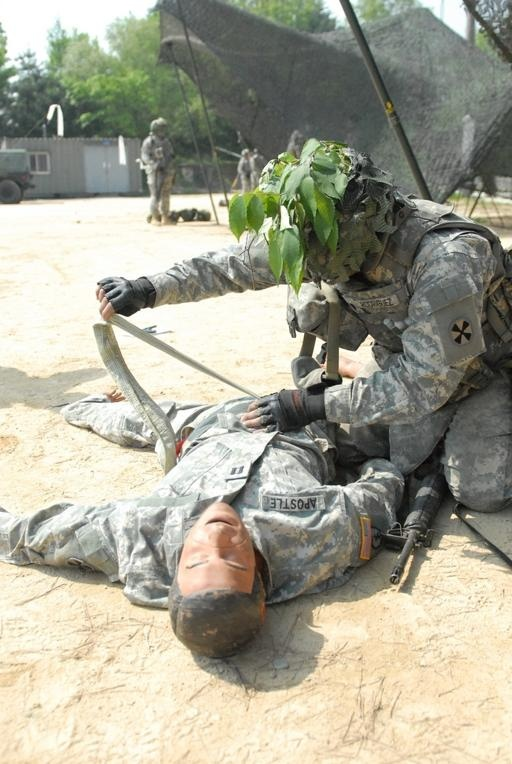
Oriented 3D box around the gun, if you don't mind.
[{"bbox_3d":[0.602,0.545,2.700,0.154,0.088,0.550,9,24,20],"label":"gun"}]
